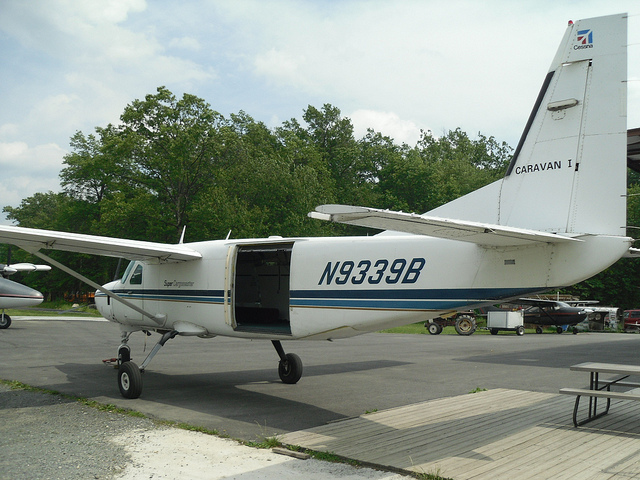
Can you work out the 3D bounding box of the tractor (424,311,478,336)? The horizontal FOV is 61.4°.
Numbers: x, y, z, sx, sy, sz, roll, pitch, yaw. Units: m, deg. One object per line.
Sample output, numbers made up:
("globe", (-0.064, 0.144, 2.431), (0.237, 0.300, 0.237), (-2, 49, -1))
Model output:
("tractor", (6.837, 4.280, 28.484), (2.376, 1.106, 5.879), (0, -5, 9))
